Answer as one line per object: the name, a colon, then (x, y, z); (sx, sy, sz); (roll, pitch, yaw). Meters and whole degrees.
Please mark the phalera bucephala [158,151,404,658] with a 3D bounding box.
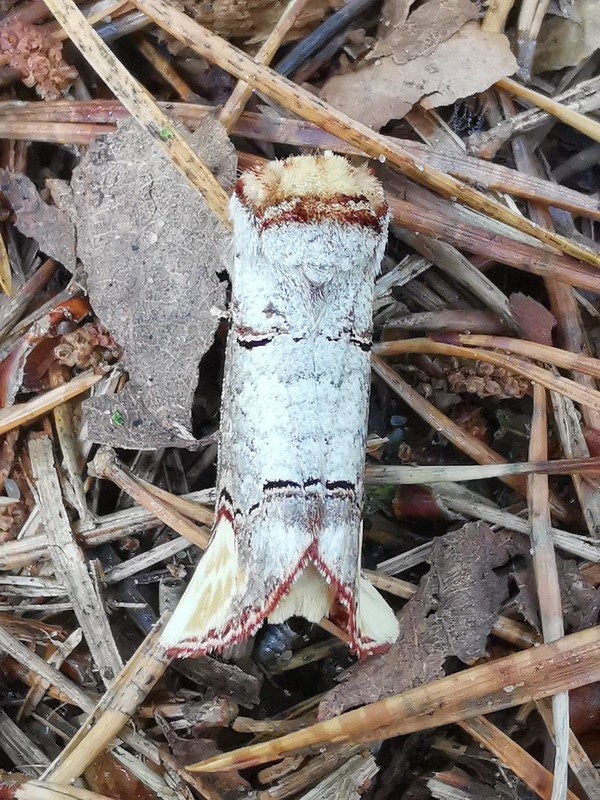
phalera bucephala: (-0.042, 0.004, 1.041); (0.355, 0.531, 0.231); (-1, -1, -9)
